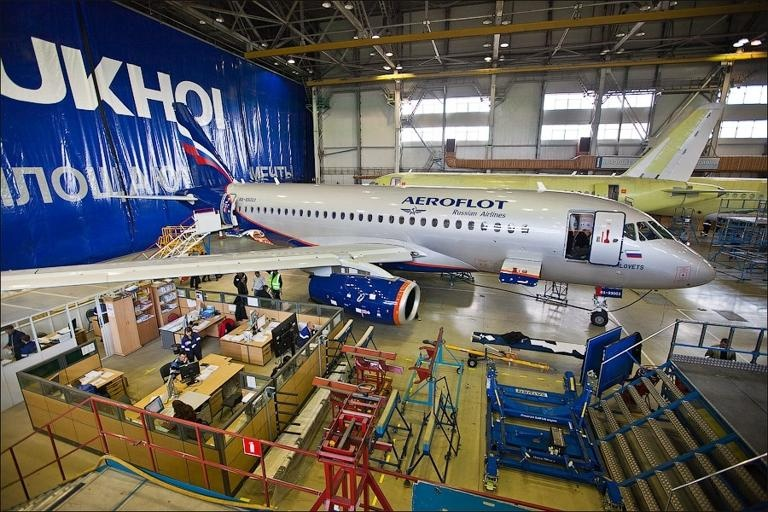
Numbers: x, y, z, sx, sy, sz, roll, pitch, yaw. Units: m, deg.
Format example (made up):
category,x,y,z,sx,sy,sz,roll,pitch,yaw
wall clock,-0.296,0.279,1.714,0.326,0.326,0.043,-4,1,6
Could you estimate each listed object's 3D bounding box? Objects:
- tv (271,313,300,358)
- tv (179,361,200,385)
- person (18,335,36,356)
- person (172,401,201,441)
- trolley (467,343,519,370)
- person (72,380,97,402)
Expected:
category,x,y,z,sx,sy,sz,roll,pitch,yaw
tv,-3.953,3.254,18.696,0.515,1.297,1.374,17,34,24
tv,-6.939,4.180,16.475,0.865,0.775,0.461,0,7,-26
person,-13.274,3.332,17.184,0.686,0.788,0.494,-9,-3,-34
person,-6.407,5.270,14.986,0.809,0.974,1.128,-4,13,-20
trolley,4.258,4.002,18.464,1.723,0.452,0.756,2,9,1
person,-10.318,4.622,15.969,1.026,0.323,0.795,4,4,36
